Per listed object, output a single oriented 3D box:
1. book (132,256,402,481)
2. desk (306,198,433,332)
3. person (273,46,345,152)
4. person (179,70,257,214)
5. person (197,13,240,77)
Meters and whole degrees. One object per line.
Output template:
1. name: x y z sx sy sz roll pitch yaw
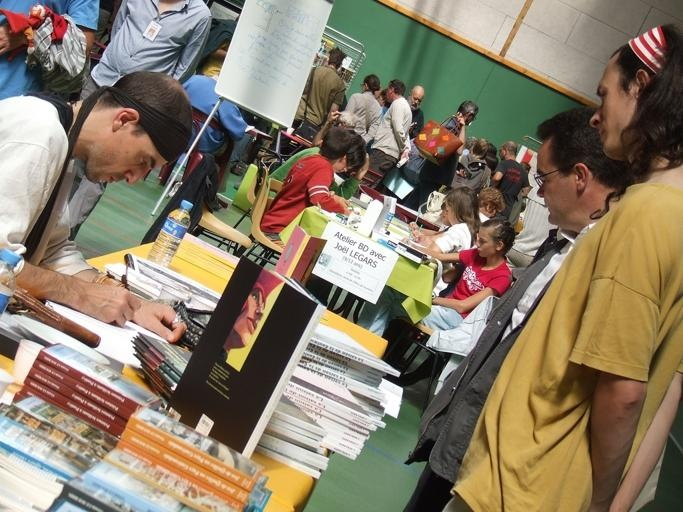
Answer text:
1. book: -0.133 0.248 1.336 0.424 0.192 0.571 28 -3 -2
2. desk: 0.336 -0.016 4.241 1.208 0.436 1.267 29 27 30
3. person: -0.392 -2.150 7.541 0.493 1.671 0.488 26 20 -5
4. person: -1.243 -1.187 4.929 0.672 1.584 0.705 10 36 4
5. person: -1.256 -2.121 5.291 0.213 0.761 0.755 15 22 1
